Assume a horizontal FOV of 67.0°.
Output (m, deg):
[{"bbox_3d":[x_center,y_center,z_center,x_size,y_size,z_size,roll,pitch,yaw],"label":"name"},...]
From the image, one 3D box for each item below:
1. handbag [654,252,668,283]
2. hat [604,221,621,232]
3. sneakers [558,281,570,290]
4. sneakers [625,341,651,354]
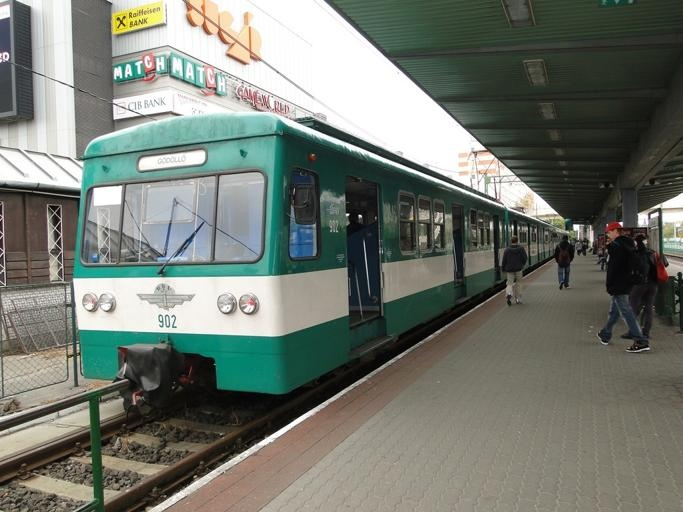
[{"bbox_3d":[6.516,0.242,10.515,0.196,0.601,0.412,-11,10,34],"label":"handbag"},{"bbox_3d":[4.853,-0.500,9.245,0.196,0.152,0.269,-17,18,-36],"label":"hat"},{"bbox_3d":[8.239,1.079,19.105,0.172,0.242,0.546,3,-20,15],"label":"sneakers"},{"bbox_3d":[5.145,1.578,9.000,0.427,0.207,0.171,1,-3,20],"label":"sneakers"}]
